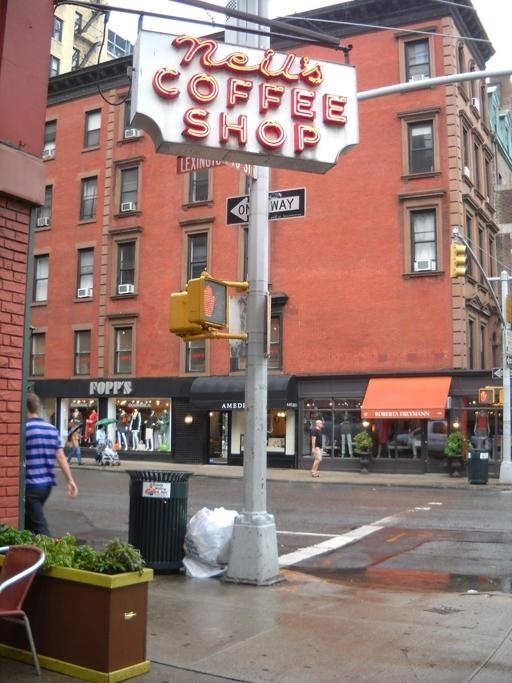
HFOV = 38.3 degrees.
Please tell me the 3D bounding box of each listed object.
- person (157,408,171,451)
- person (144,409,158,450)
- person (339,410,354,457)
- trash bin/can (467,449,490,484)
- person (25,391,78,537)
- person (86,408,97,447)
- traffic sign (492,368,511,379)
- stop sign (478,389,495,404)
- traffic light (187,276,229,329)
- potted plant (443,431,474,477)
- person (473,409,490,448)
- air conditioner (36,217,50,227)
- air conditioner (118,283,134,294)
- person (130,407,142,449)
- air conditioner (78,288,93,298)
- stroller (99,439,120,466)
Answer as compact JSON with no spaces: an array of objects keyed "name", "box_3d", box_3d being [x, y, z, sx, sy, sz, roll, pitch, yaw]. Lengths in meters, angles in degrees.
[{"name":"person","box_3d":[-3.819,3.586,30.583,0.911,1.934,0.220,-8,-11,44]},{"name":"person","box_3d":[-4.414,3.728,30.984,0.820,1.659,0.201,-8,-11,42]},{"name":"person","box_3d":[3.238,3.351,26.381,0.439,1.530,0.174,-3,-8,14]},{"name":"trash bin/can","box_3d":[6.345,3.568,20.985,0.505,0.977,0.503,-1,-8,-1]},{"name":"person","box_3d":[-1.979,1.259,7.015,0.453,1.076,0.390,2,-8,-18]},{"name":"person","box_3d":[-7.286,3.786,32.588,0.254,1.551,0.824,5,-10,-38]},{"name":"traffic sign","box_3d":[7.342,0.962,21.954,0.438,0.423,0.270,0,3,36]},{"name":"stop sign","box_3d":[6.758,1.580,21.524,0.402,0.439,0.279,-2,-8,8]},{"name":"traffic light","box_3d":[-0.474,-0.359,7.167,0.265,0.510,0.537,-1,-2,23]},{"name":"potted plant","box_3d":[6.522,3.556,23.899,0.724,1.532,1.244,-3,-8,14]},{"name":"person","box_3d":[7.552,2.944,24.560,0.580,1.214,0.284,0,-8,-3]},{"name":"air conditioner","box_3d":[-10.258,-5.709,35.443,0.858,0.643,0.260,-8,-11,44]},{"name":"air conditioner","box_3d":[-5.633,-2.213,32.148,0.799,0.489,0.425,-3,-13,25]},{"name":"person","box_3d":[-5.121,3.751,31.413,0.708,1.793,0.198,-7,-10,38]},{"name":"air conditioner","box_3d":[-7.719,-2.139,33.413,0.780,0.525,0.419,-2,-9,26]},{"name":"stroller","box_3d":[-5.563,4.291,28.097,0.976,1.127,0.790,-2,-5,11]}]
